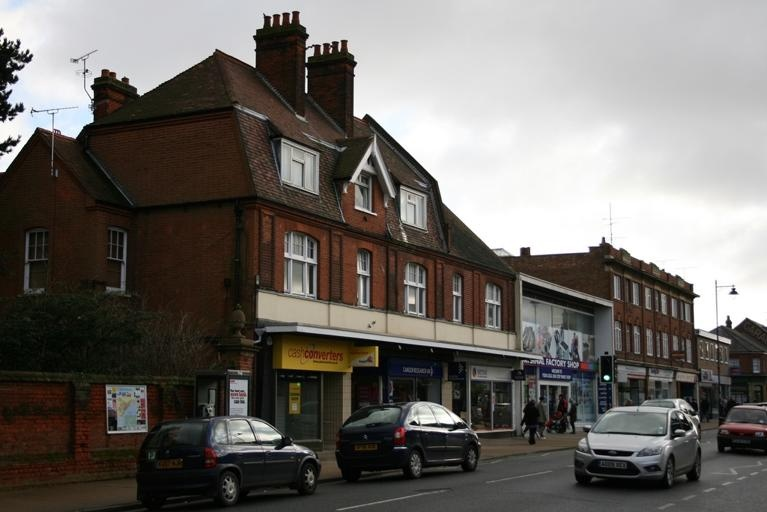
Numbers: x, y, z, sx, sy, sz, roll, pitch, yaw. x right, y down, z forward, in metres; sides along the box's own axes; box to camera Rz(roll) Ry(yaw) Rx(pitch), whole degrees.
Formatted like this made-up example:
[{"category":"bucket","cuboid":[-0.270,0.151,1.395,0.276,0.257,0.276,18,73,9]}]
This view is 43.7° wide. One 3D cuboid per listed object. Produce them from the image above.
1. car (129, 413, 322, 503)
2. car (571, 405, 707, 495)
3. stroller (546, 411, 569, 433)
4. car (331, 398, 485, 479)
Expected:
[{"category":"car","cuboid":[-4.159,5.516,26.274,2.263,1.874,4.063,-6,-6,40]},{"category":"car","cuboid":[7.672,5.623,28.507,4.088,2.489,2.102,9,-18,-33]},{"category":"stroller","cuboid":[9.582,9.032,52.112,1.299,1.418,0.986,2,-6,-9]},{"category":"car","cuboid":[0.860,5.789,30.167,4.401,2.363,1.533,10,-18,-35]}]
